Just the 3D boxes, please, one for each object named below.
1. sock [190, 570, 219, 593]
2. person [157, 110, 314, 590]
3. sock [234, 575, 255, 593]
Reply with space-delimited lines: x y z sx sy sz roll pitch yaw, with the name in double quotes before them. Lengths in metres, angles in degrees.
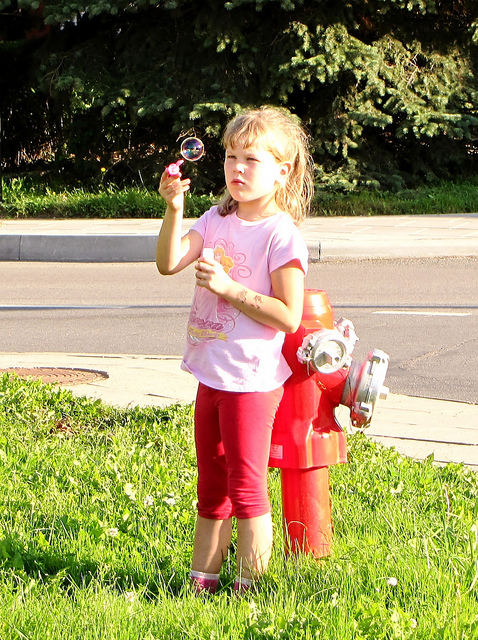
"sock" -0.091 0.704 1.909 0.052 0.072 0.061 2 -3 -18
"person" -0.034 0.136 1.897 0.373 1.368 0.387 7 8 31
"sock" 0.016 0.696 1.871 0.043 0.039 0.046 0 3 -27
